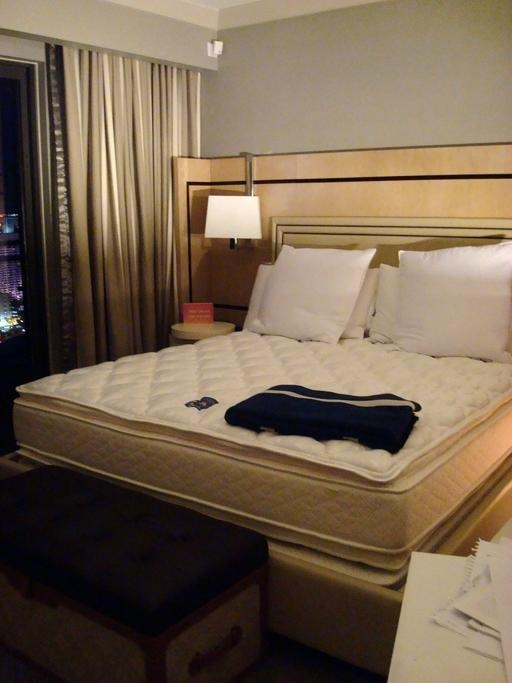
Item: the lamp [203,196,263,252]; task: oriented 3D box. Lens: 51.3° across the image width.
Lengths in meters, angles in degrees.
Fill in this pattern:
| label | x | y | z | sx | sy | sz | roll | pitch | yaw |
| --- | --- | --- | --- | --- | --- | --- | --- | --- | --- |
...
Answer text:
| label | x | y | z | sx | sy | sz | roll | pitch | yaw |
| --- | --- | --- | --- | --- | --- | --- | --- | --- | --- |
| lamp | -0.147 | -0.811 | 3.650 | 0.326 | 0.271 | 0.321 | 1 | 21 | 4 |
